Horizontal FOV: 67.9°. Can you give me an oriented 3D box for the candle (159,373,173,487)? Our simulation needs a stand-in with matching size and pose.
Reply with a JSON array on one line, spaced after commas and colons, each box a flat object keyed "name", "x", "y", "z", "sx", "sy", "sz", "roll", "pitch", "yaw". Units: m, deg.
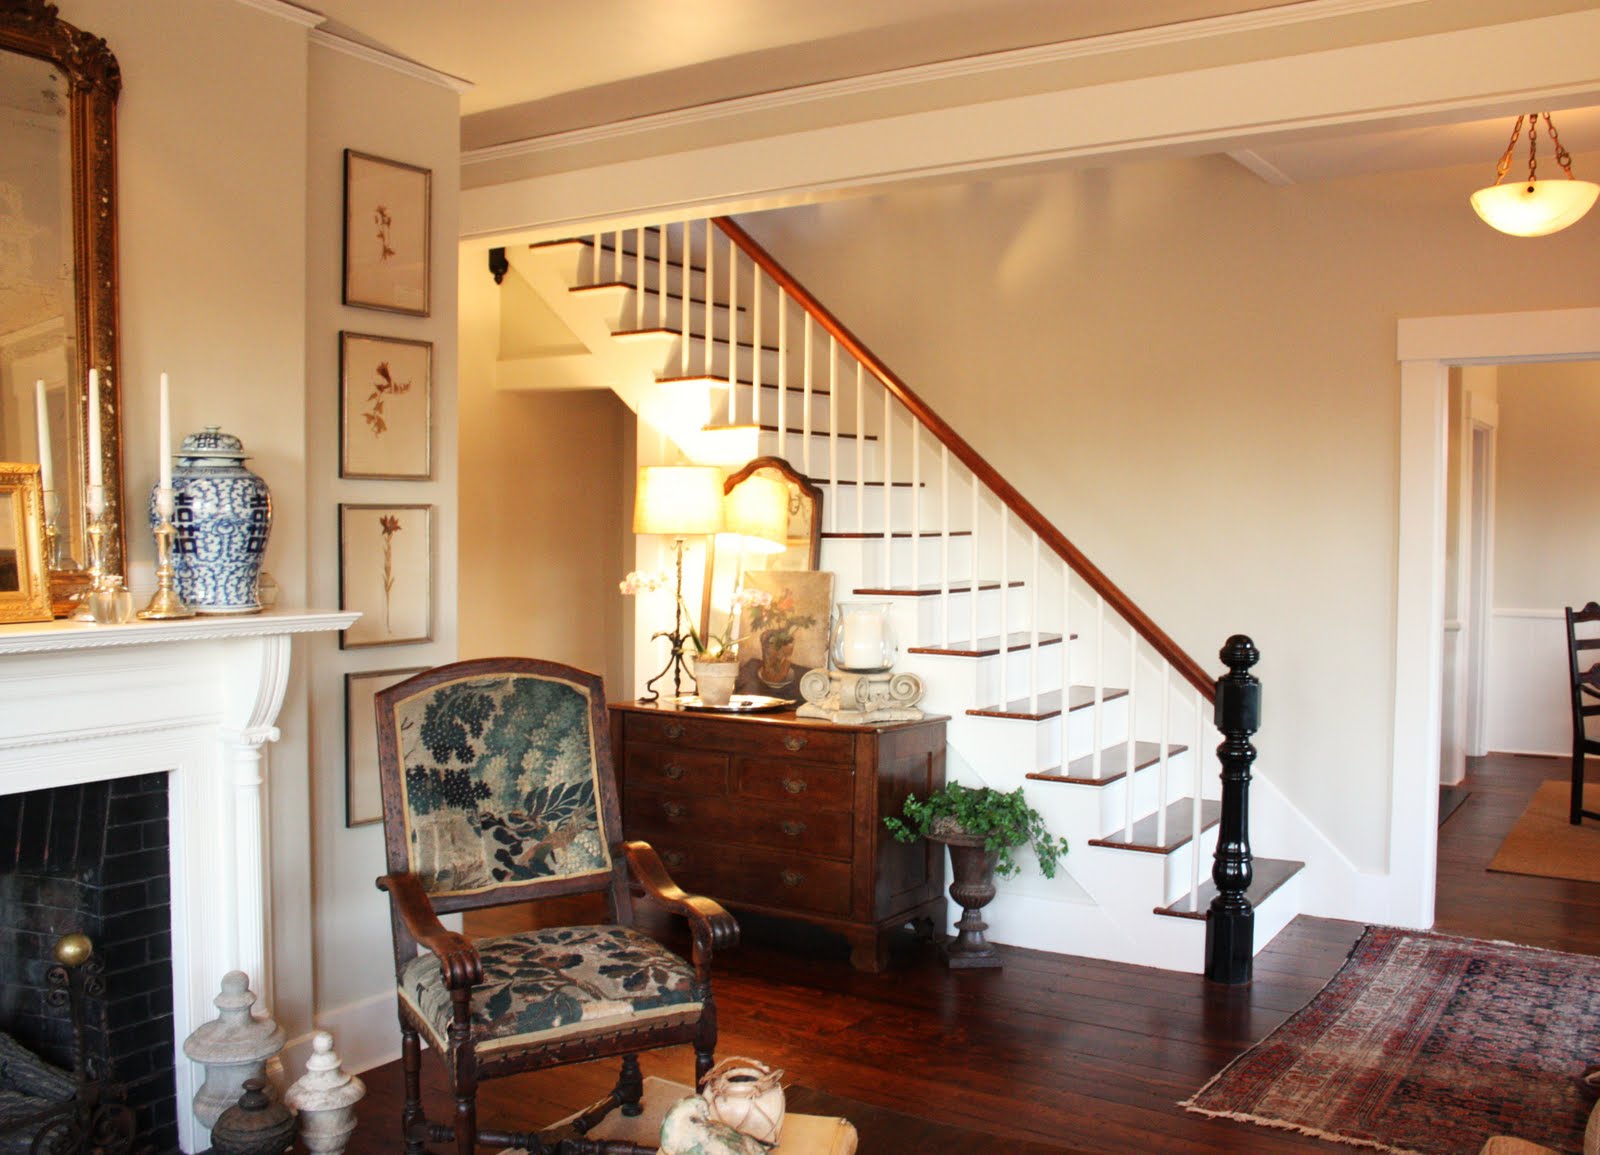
[{"name": "candle", "x": -1.725, "y": -0.405, "z": 3.218, "sx": 0.044, "sy": 0.319, "sz": 0.277, "roll": -2, "pitch": 5, "yaw": -28}]

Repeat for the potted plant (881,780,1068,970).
[{"name": "potted plant", "x": 0.727, "y": 1.222, "z": 4.955, "sx": 0.788, "sy": 0.705, "sz": 0.381, "roll": 0, "pitch": 4, "yaw": -3}]
